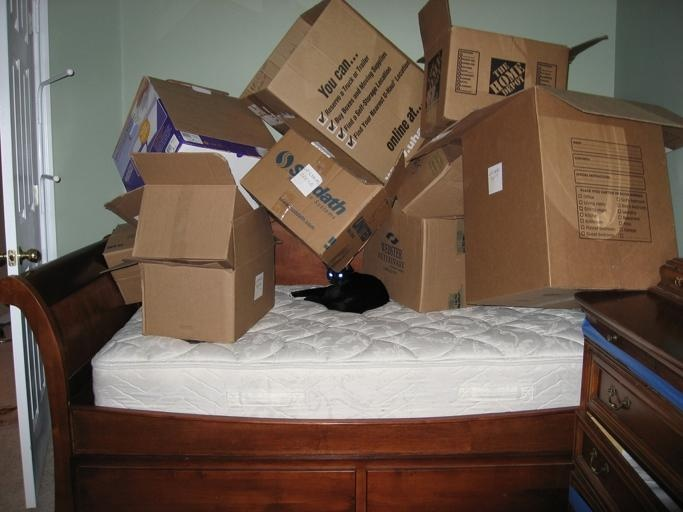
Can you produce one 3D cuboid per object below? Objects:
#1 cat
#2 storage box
[{"bbox_3d":[0.032,0.178,2.599,0.312,0.136,0.247,2,21,-11],"label":"cat"},{"bbox_3d":[0.036,-0.141,2.565,1.892,1.028,1.557,-7,44,13],"label":"storage box"}]
